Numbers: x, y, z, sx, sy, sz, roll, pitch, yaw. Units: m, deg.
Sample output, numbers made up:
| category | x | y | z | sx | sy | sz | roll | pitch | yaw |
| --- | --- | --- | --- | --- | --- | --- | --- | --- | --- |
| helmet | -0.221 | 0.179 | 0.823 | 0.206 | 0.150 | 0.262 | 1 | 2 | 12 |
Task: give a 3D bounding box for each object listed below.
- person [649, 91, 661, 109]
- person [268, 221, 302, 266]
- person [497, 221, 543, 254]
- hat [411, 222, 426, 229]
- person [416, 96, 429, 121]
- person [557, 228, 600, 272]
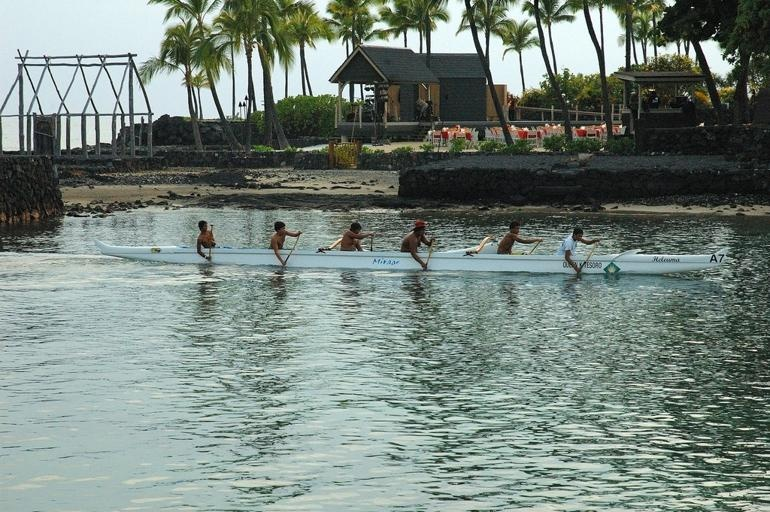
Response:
| category | x | y | z | sx | sy | sz | roll | pitch | yaw |
| --- | --- | --- | --- | --- | --- | --- | --- | --- | --- |
| person | 10.695 | -6.306 | 48.016 | 0.424 | 0.619 | 0.763 | 1 | 13 | 11 |
| person | -2.736 | -0.305 | 32.548 | 0.896 | 1.285 | 0.851 | 5 | 32 | 11 |
| person | 3.248 | -0.474 | 30.418 | 0.870 | 0.939 | 1.450 | 0 | 12 | 5 |
| hat | 0.867 | -0.774 | 30.127 | 0.298 | 0.158 | 0.216 | -22 | 38 | -31 |
| person | 1.927 | -7.667 | 62.585 | 0.618 | 1.017 | 0.855 | -1 | 13 | 0 |
| person | 4.795 | 0.046 | 30.087 | 1.279 | 1.451 | 0.910 | 0 | 27 | 10 |
